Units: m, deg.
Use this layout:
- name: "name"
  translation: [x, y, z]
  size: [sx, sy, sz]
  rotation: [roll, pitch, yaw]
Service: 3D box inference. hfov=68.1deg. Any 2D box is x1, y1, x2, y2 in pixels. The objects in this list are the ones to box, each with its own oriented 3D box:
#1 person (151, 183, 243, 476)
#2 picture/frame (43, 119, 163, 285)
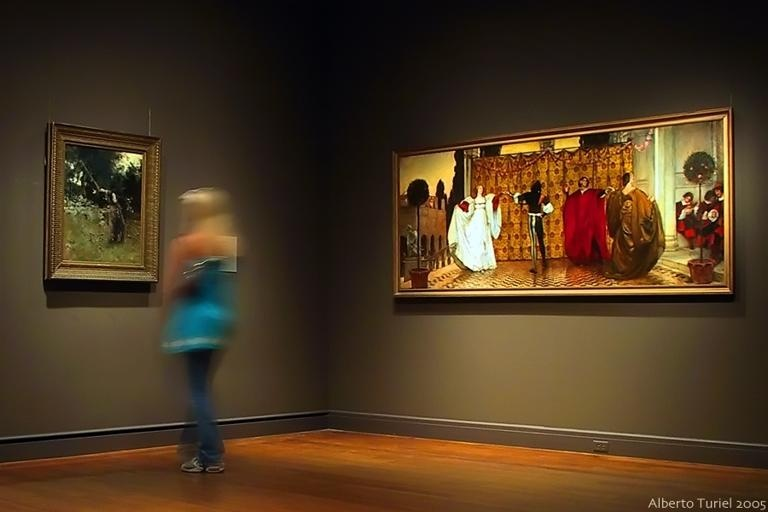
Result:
- name: "person"
  translation: [-1.586, 0.634, 4.959]
  size: [0.602, 2.066, 0.442]
  rotation: [0, 0, 8]
- name: "picture/frame"
  translation: [-2.815, -0.516, 5.736]
  size: [1.025, 1.552, 0.097]
  rotation: [1, 0, -31]
